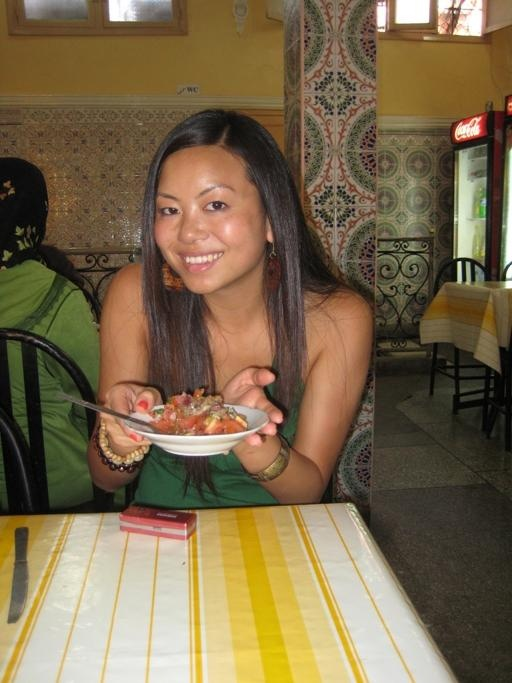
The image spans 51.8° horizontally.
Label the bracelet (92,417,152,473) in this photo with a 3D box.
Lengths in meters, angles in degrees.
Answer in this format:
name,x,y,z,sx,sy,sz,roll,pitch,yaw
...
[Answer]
name,x,y,z,sx,sy,sz,roll,pitch,yaw
bracelet,-0.311,0.241,1.191,0.127,0.061,0.141,3,49,-32
